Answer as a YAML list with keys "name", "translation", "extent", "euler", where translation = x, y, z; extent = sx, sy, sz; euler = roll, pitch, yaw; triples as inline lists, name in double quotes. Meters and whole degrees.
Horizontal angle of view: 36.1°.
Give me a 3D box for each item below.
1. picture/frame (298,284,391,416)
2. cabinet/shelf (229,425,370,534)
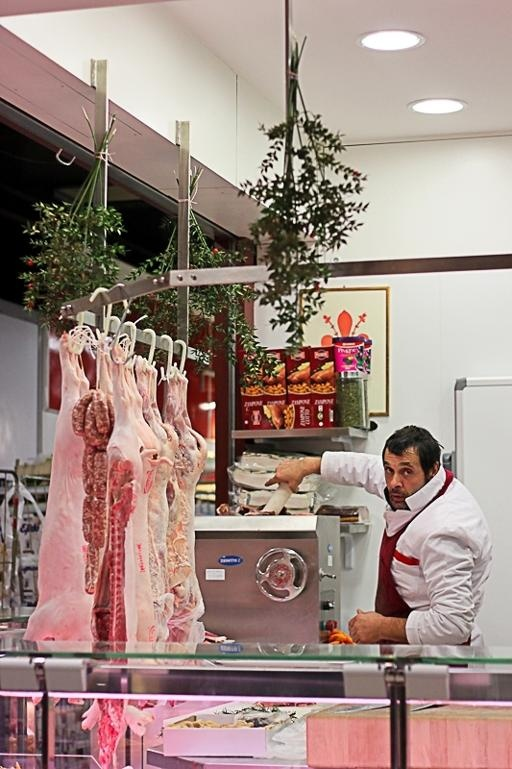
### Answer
- name: "picture/frame"
  translation: [0.478, -0.161, 4.082]
  extent: [0.434, 0.679, 0.049]
  euler: [-3, -5, 14]
- name: "cabinet/shelf"
  translation: [0.206, 0.430, 3.817]
  extent: [0.631, 0.578, 0.437]
  euler: [2, -10, -6]
